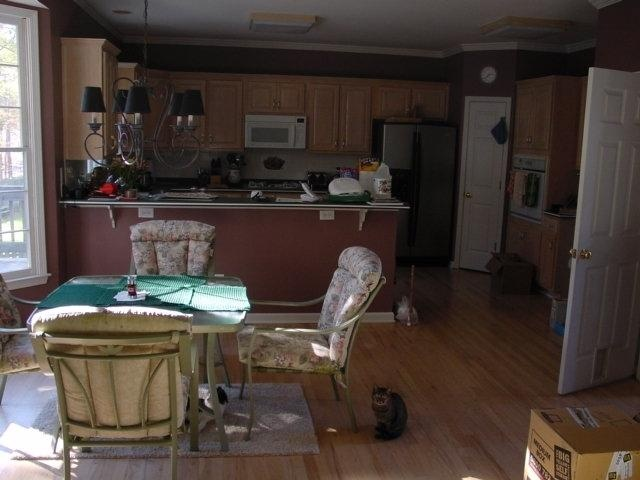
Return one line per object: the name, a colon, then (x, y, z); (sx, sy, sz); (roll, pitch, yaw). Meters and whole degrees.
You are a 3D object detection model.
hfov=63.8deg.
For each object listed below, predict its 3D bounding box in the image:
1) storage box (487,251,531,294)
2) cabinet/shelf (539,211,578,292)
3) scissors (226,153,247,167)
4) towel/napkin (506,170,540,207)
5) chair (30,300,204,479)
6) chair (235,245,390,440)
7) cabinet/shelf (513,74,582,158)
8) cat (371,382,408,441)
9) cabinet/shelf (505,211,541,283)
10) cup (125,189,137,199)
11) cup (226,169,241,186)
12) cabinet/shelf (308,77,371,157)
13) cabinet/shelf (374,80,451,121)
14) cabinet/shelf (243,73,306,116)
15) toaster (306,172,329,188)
storage box: (2.380, 0.399, 6.507); (0.435, 0.442, 0.619); (-1, 11, 2)
cabinet/shelf: (2.795, 0.164, 6.097); (0.214, 0.967, 0.563); (-3, 14, -21)
scissors: (-1.189, -1.137, 7.284); (0.274, 0.202, 0.201); (-1, 14, -11)
towel/napkin: (2.600, -0.659, 6.551); (0.103, 0.358, 0.460); (-4, 15, -14)
chair: (-0.960, 0.650, 2.676); (0.617, 0.935, 0.917); (1, 9, -9)
chair: (-0.001, 0.632, 3.914); (1.223, 1.442, 1.000); (0, 2, -5)
cabinet/shelf: (2.787, -1.534, 6.400); (0.347, 0.932, 0.832); (-6, 15, -28)
cat: (0.461, 1.097, 3.361); (0.218, 0.395, 0.247); (5, 14, 13)
cabinet/shelf: (2.575, 0.104, 6.490); (0.430, 0.741, 0.790); (1, 10, -1)
cup: (-1.751, -0.427, 4.764); (0.098, 0.071, 0.075); (-4, 15, -21)
cup: (-1.213, -0.880, 7.231); (0.200, 0.195, 0.194); (0, 0, 0)
cabinet/shelf: (0.250, -1.763, 7.171); (0.981, 0.972, 0.481); (0, 8, -6)
cabinet/shelf: (1.283, -1.981, 7.319); (1.161, 0.521, 0.163); (-3, 14, -19)
cabinet/shelf: (-0.657, -1.854, 7.263); (0.827, 0.524, 0.480); (0, 5, -6)
toaster: (-0.036, -0.871, 7.504); (0.342, 0.243, 0.232); (2, 13, -1)
